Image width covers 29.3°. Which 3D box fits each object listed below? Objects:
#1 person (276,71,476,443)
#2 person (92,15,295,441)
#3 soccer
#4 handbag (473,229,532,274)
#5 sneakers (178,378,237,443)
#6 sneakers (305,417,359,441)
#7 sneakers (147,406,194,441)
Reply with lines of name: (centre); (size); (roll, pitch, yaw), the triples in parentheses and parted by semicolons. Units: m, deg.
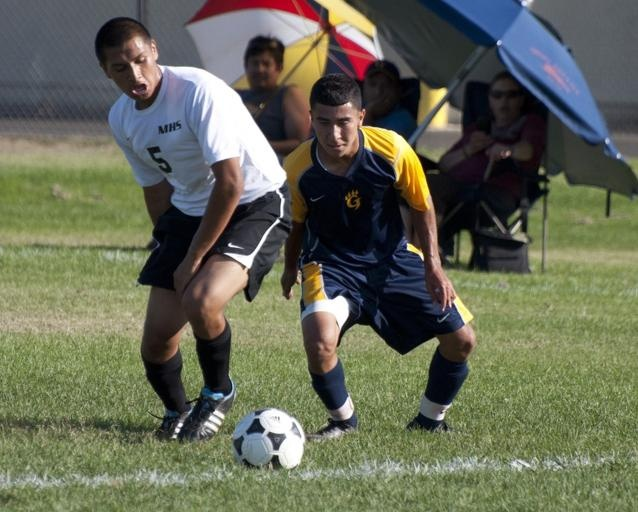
person: (0.360, 0.000, 7.737); (1.173, 2.264, 0.557); (1, 7, -1)
person: (-0.776, -0.162, 7.661); (1.192, 2.612, 0.564); (1, 7, -2)
soccer: (-0.300, 1.110, 7.417); (0.414, 0.403, 0.338); (6, -3, -1)
handbag: (1.729, -0.045, 11.416); (0.452, 0.328, 0.401); (2, 2, 8)
sneakers: (-0.689, 0.990, 7.733); (0.188, 0.198, 0.539); (12, 44, 32)
sneakers: (0.104, 1.101, 7.740); (0.338, 0.154, 0.127); (-6, 1, -14)
sneakers: (-0.936, 1.079, 7.704); (0.109, 0.128, 0.331); (-23, 31, 52)
